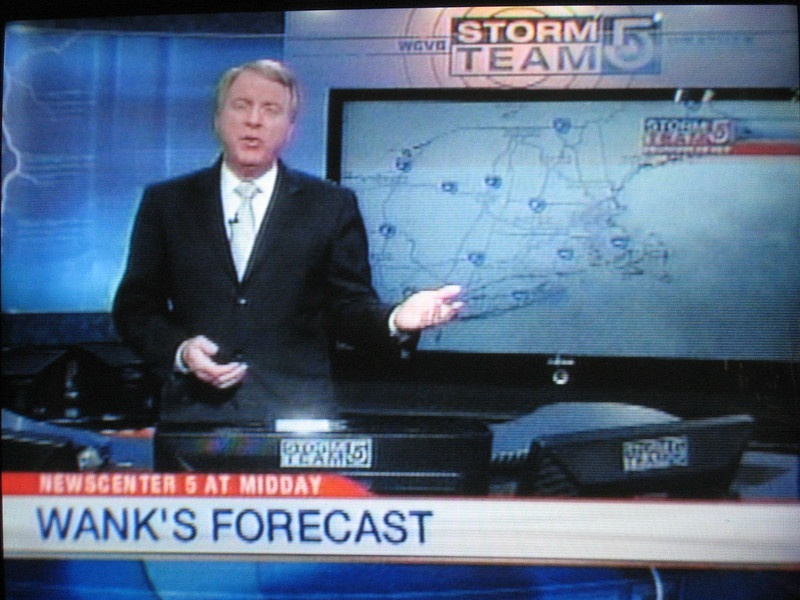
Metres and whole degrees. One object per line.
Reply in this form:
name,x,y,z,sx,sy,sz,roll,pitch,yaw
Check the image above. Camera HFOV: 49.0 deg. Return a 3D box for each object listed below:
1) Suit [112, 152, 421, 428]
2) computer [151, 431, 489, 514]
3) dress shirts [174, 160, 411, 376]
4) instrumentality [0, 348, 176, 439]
Suit,-0.518,-0.058,3.549,1.351,0.931,0.616,4,10,1
computer,-0.314,0.651,3.579,1.360,0.238,0.197,1,-10,-5
dress shirts,-0.535,-0.197,3.669,1.309,0.927,0.532,6,30,-12
instrumentality,-1.283,0.345,3.592,0.531,0.101,0.433,5,9,-10
